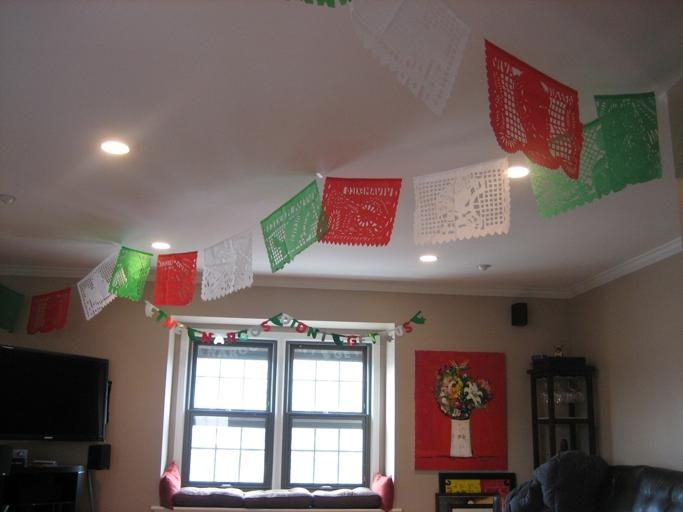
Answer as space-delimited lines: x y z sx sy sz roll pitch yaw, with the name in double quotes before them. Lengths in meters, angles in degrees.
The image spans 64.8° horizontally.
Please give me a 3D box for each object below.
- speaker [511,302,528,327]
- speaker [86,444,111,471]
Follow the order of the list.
"speaker" 1.951 0.644 5.884 0.199 0.246 0.221 -2 -17 8
"speaker" -2.325 1.924 5.106 0.214 0.250 0.225 6 -18 -19
